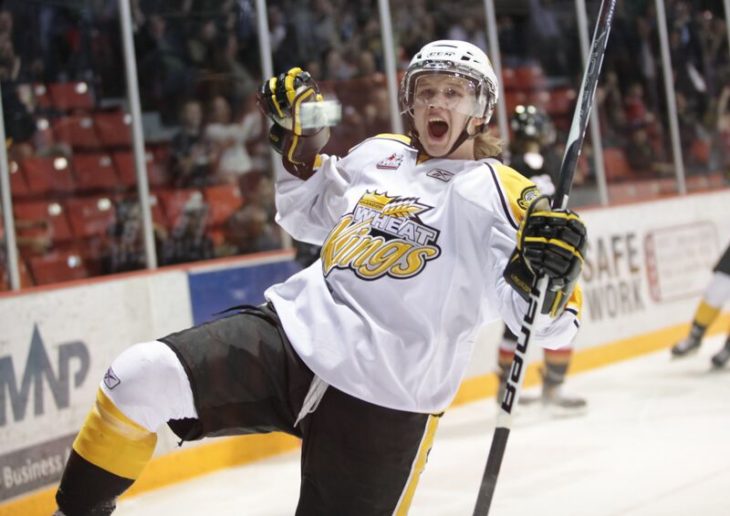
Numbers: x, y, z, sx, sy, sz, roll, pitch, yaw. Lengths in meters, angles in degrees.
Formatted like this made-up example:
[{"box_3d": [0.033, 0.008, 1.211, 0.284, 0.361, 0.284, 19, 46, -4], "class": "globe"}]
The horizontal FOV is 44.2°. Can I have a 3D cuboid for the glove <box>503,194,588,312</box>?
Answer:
[{"box_3d": [0.756, -0.017, 3.819, 0.304, 0.470, 0.265, 24, 5, 10], "class": "glove"}]

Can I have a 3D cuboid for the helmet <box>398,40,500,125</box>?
[{"box_3d": [0.395, -0.845, 4.218, 0.338, 0.409, 0.421, -3, -27, 37], "class": "helmet"}]

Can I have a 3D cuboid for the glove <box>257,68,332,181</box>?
[{"box_3d": [-0.366, -0.649, 4.358, 0.297, 0.514, 0.221, 21, -17, -38], "class": "glove"}]
